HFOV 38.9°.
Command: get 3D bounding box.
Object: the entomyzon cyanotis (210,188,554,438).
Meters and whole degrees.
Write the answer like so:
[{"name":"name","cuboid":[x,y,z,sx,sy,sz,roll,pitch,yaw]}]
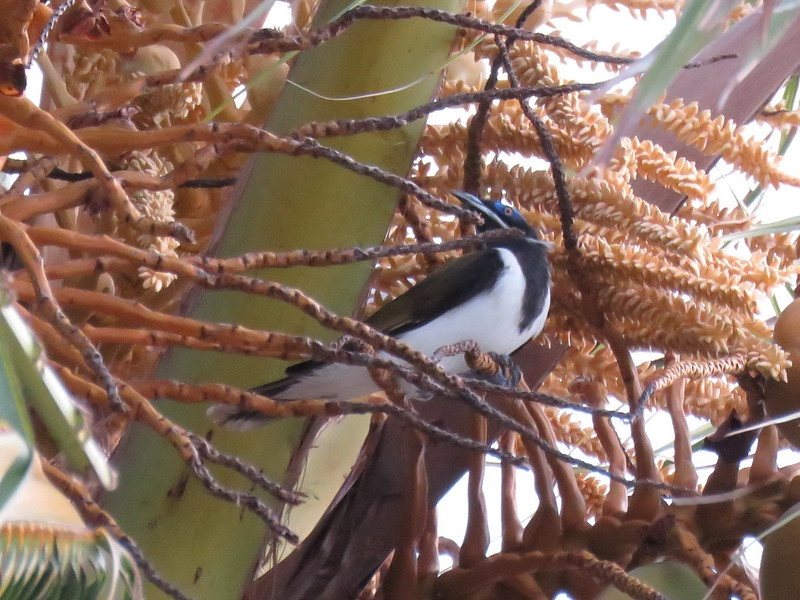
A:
[{"name":"entomyzon cyanotis","cuboid":[0.017,-0.010,0.782,0.236,0.070,0.124,1,-87,41]}]
